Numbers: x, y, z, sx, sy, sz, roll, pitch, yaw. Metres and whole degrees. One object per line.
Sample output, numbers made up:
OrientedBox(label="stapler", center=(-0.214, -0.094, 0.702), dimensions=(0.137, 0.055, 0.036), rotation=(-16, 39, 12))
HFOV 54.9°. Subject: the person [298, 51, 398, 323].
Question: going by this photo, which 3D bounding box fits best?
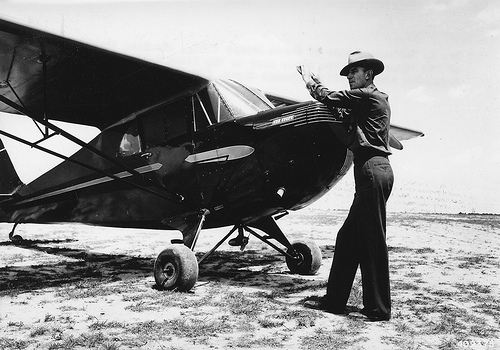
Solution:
OrientedBox(label="person", center=(1.214, 0.059, 5.549), dimensions=(0.817, 2.917, 1.103), rotation=(0, 4, 16))
